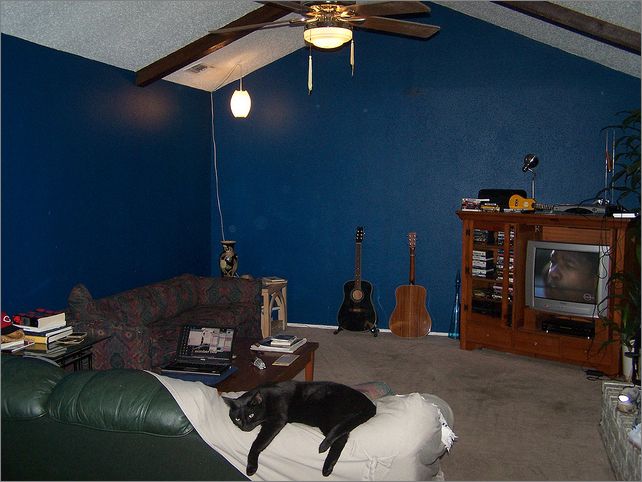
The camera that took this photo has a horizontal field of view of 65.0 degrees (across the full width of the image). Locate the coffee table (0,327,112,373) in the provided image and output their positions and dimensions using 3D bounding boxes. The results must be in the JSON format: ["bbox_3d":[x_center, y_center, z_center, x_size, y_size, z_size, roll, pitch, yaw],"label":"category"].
[{"bbox_3d":[-1.822,0.792,3.542,0.478,0.263,0.473,3,7,19],"label":"coffee table"}]

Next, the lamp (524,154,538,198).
[{"bbox_3d":[2.301,-0.710,5.557,0.165,0.491,0.194,3,14,21],"label":"lamp"}]

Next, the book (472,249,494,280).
[{"bbox_3d":[1.749,0.247,5.558,0.260,0.333,0.347,0,0,-41],"label":"book"}]

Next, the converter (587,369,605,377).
[{"bbox_3d":[2.633,1.269,4.846,0.149,0.039,0.085,4,12,23],"label":"converter"}]

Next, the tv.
[{"bbox_3d":[2.552,0.371,5.125,0.437,0.710,0.781,-6,7,-44],"label":"tv"}]

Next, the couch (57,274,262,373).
[{"bbox_3d":[-1.460,0.823,4.895,0.941,0.994,2.122,0,4,17],"label":"couch"}]

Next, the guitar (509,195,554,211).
[{"bbox_3d":[2.196,-0.387,5.281,0.417,0.184,0.103,12,1,20],"label":"guitar"}]

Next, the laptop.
[{"bbox_3d":[-0.908,0.798,3.713,0.478,0.267,0.369,0,7,7],"label":"laptop"}]

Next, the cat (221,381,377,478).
[{"bbox_3d":[-0.058,0.830,2.340,0.517,0.183,0.438,-6,14,-3],"label":"cat"}]

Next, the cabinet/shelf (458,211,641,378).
[{"bbox_3d":[2.333,0.545,5.042,1.661,1.399,0.539,1,0,38],"label":"cabinet/shelf"}]

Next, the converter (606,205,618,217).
[{"bbox_3d":[2.760,-0.290,4.811,0.116,0.098,0.117,3,1,25],"label":"converter"}]
